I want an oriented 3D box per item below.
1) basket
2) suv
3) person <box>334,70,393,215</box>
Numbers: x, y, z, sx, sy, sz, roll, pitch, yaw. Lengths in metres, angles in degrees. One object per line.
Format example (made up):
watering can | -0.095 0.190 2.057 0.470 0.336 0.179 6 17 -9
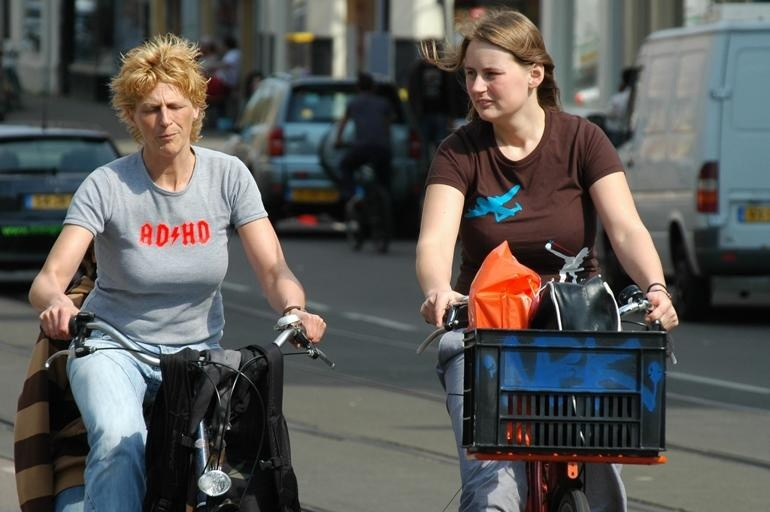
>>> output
basket | 0.851 0.659 6.912 0.993 0.637 0.597 1 -11 -3
suv | -0.652 -1.115 17.102 2.015 1.721 3.733 0 8 -6
person | -0.256 -1.281 18.140 0.646 1.396 0.740 1 10 0
